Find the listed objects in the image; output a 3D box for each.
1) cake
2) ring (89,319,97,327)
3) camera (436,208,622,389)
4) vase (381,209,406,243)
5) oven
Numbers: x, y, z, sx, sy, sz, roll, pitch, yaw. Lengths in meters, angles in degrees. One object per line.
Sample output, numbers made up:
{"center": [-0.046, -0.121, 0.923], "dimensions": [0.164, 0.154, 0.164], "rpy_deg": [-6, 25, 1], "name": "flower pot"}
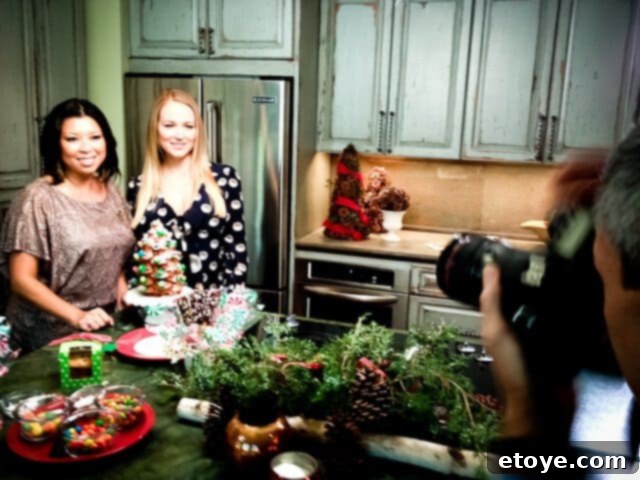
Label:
{"center": [-0.628, 0.074, 1.791], "dimensions": [0.165, 0.287, 0.148], "rpy_deg": [-9, 17, -32], "name": "cake"}
{"center": [-0.828, 0.305, 1.689], "dimensions": [0.023, 0.010, 0.029], "rpy_deg": [-18, 37, -17], "name": "ring"}
{"center": [0.256, 0.054, 0.697], "dimensions": [0.261, 0.146, 0.281], "rpy_deg": [-16, 21, -42], "name": "camera"}
{"center": [0.477, -0.106, 3.186], "dimensions": [0.239, 0.224, 0.208], "rpy_deg": [1, 3, -2], "name": "vase"}
{"center": [0.237, 0.303, 3.294], "dimensions": [0.616, 0.740, 0.564], "rpy_deg": [1, 2, 18], "name": "oven"}
